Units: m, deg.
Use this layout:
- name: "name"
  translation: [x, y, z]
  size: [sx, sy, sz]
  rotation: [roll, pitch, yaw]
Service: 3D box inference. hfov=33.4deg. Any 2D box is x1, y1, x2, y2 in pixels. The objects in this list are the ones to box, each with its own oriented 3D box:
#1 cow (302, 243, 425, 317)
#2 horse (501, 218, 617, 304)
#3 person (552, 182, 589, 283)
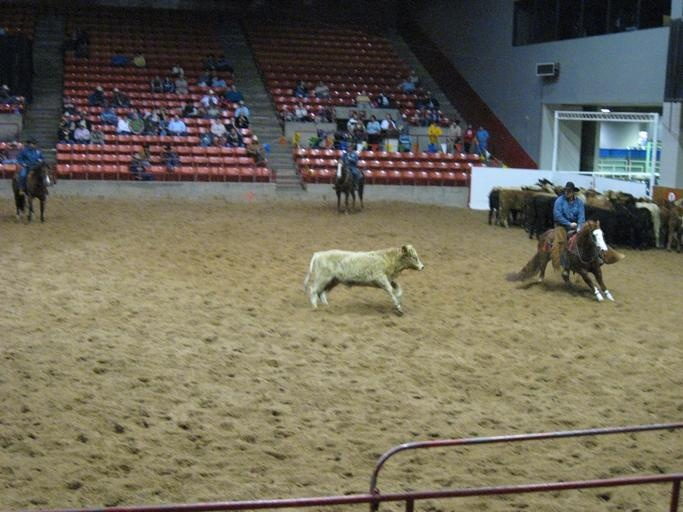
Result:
- name: "cow"
  translation: [0.525, 0.512, 29.526]
  size: [2.845, 1.774, 1.224]
  rotation: [2, 8, 3]
- name: "horse"
  translation: [6.525, 0.013, 31.295]
  size: [1.412, 2.157, 2.861]
  rotation: [-6, 11, -44]
- name: "person"
  translation: [6.282, -0.774, 31.392]
  size: [0.843, 2.497, 0.712]
  rotation: [7, 14, 15]
